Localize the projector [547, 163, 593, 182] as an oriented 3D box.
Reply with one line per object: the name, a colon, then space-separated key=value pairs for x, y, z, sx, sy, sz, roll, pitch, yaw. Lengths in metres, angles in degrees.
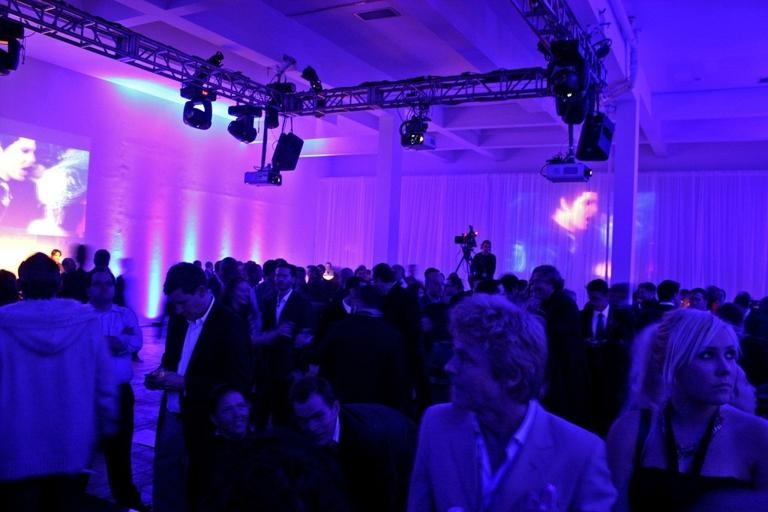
projector: x=2.368 y=-1.073 z=8.215 sx=0.546 sy=0.238 sz=0.650 roll=2 pitch=-4 yaw=9

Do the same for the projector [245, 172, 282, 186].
projector: x=-1.857 y=-1.180 z=9.724 sx=0.462 sy=0.162 sz=0.278 roll=2 pitch=1 yaw=36

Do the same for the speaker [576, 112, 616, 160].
speaker: x=2.576 y=-1.504 z=7.716 sx=0.424 sy=0.650 sz=0.429 roll=2 pitch=-4 yaw=12
